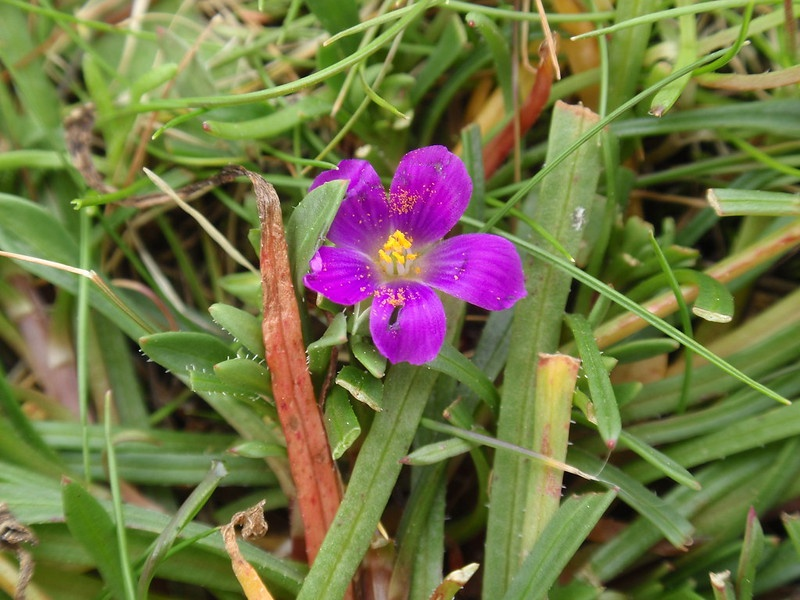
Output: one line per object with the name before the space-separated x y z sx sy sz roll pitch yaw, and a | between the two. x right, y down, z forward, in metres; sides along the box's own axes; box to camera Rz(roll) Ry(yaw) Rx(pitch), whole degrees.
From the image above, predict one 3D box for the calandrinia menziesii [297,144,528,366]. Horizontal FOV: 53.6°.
calandrinia menziesii | 0.026 -0.098 1.518 0.420 0.278 0.331 -3 37 -8
